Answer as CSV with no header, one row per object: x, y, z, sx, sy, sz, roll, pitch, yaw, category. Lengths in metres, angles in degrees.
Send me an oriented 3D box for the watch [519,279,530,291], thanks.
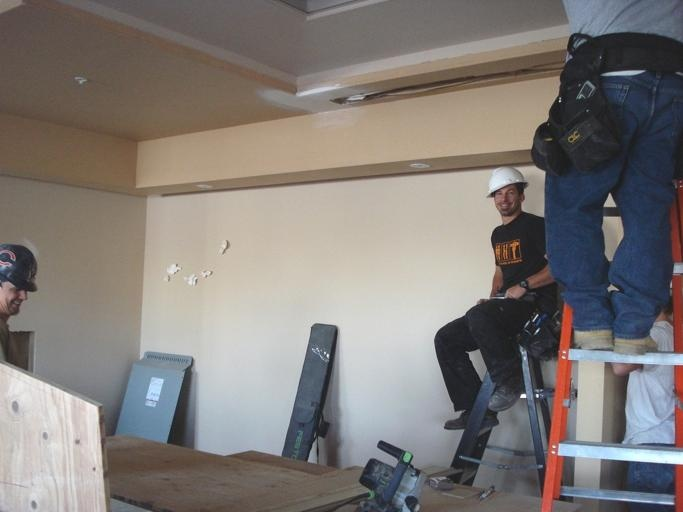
1.253,0.201,3.629,0.051,0.078,0.075,-6,-29,27,watch

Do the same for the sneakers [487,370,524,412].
1.131,0.902,3.686,0.132,0.163,0.396,13,27,44,sneakers

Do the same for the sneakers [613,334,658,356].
1.062,0.319,1.897,0.191,0.067,0.086,6,-8,-24,sneakers
